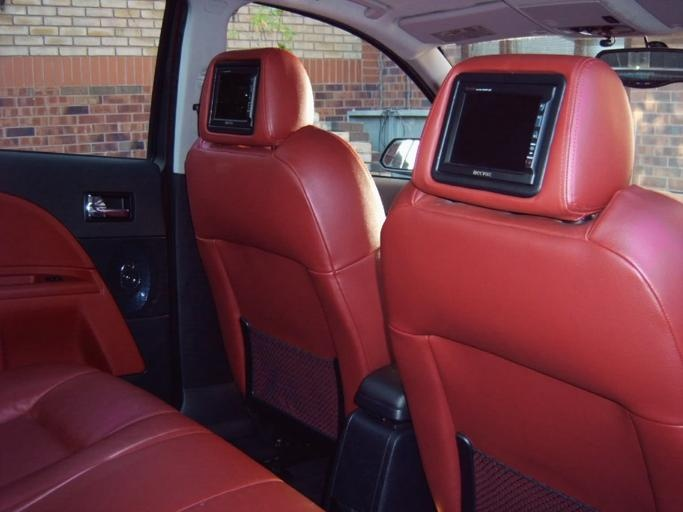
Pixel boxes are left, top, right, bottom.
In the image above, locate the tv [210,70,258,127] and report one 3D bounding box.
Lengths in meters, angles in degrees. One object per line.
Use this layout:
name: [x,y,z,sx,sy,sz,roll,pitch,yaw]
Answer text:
tv: [-0.309,-0.453,1.606,0.046,0.196,0.187,-6,14,-44]
